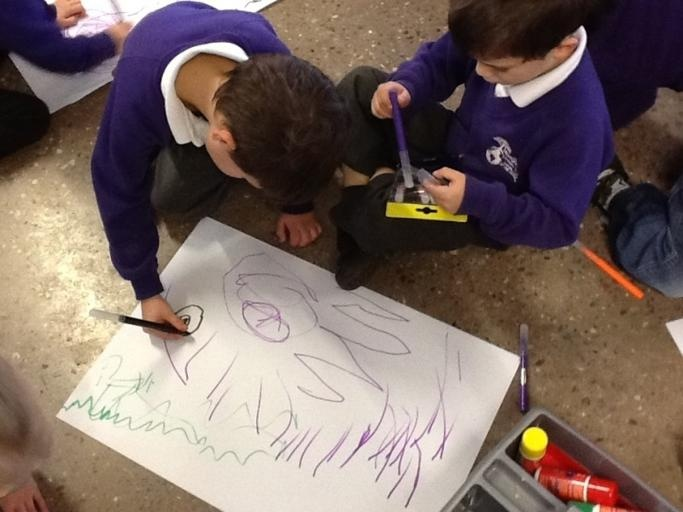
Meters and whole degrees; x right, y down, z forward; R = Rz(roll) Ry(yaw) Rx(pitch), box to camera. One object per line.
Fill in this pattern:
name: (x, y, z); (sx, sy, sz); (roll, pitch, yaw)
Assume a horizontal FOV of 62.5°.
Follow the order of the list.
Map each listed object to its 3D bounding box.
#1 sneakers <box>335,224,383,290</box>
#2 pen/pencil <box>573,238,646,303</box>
sneakers: (0.033, -0.025, 1.310); (0.038, 0.050, 0.122); (-26, 28, -36)
pen/pencil: (0.630, 0.041, 1.321); (0.027, 0.020, 0.178); (-41, 75, 9)
